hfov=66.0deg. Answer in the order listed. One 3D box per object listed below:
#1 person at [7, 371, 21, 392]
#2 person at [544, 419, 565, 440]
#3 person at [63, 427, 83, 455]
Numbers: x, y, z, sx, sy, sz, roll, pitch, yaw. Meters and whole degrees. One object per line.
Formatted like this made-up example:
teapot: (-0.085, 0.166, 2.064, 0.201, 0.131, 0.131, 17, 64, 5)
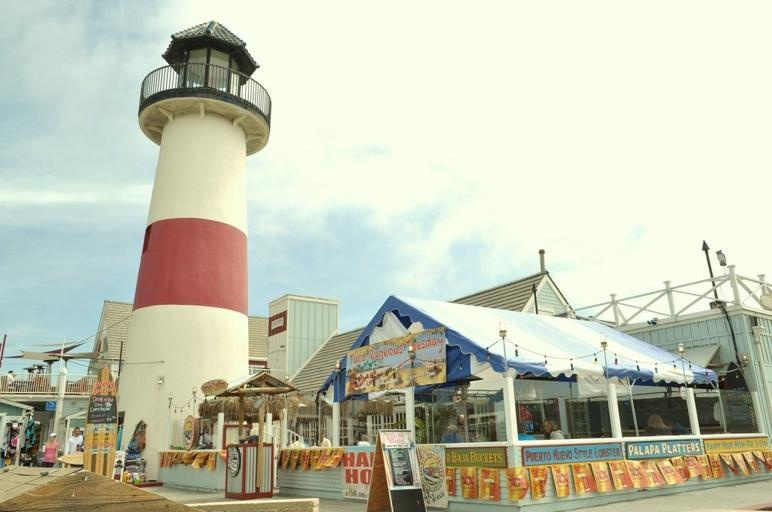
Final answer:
person: (-16.806, 5.663, 26.686, 0.451, 0.905, 0.822, 2, -20, -9)
person: (4.505, 4.675, 15.944, 0.504, 0.729, 0.641, -6, -40, 15)
person: (-10.791, 6.382, 20.564, 0.454, 0.849, 1.272, 9, -22, -26)
